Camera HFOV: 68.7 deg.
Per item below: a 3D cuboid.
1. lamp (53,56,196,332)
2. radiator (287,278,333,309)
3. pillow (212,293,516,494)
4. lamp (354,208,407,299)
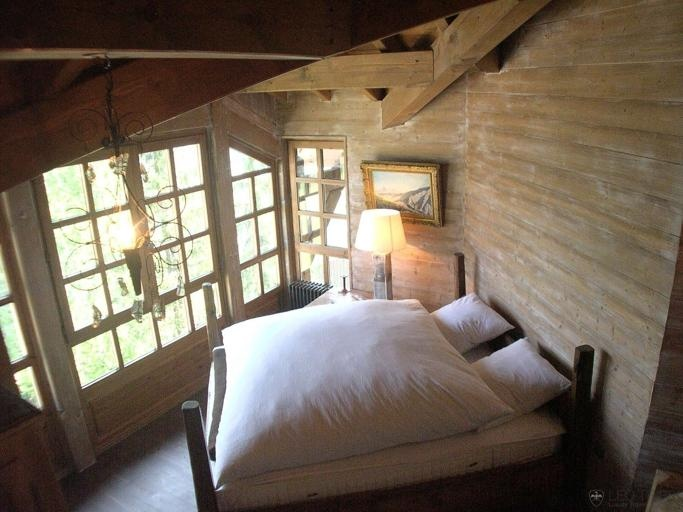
[{"bbox_3d":[-1.108,-0.406,2.478,0.605,1.435,0.597,18,28,29],"label":"lamp"},{"bbox_3d":[-0.318,0.382,5.111,0.279,0.269,0.098,11,34,23],"label":"radiator"},{"bbox_3d":[0.025,0.771,2.895,1.122,0.318,1.131,-13,27,-5],"label":"pillow"},{"bbox_3d":[0.388,0.035,4.674,0.440,0.951,0.424,10,25,27],"label":"lamp"}]
